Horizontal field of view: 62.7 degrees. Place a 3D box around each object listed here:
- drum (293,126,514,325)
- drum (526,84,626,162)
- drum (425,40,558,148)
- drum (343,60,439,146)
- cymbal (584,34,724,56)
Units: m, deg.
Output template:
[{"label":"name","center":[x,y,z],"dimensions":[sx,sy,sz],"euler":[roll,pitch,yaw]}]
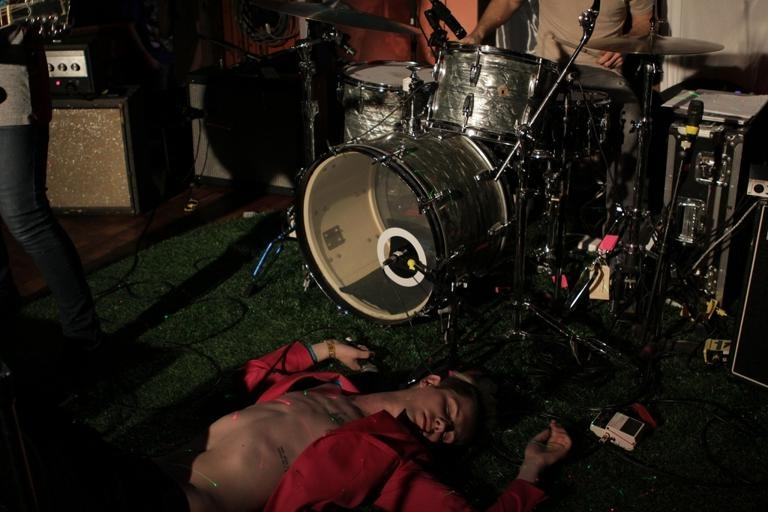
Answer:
[{"label":"drum","center":[0.112,-0.187,3.203],"dimensions":[0.890,0.831,0.727],"euler":[22,34,35]},{"label":"drum","center":[0.991,-0.672,3.206],"dimensions":[0.479,0.239,0.570],"euler":[11,28,21]},{"label":"drum","center":[0.554,-0.837,3.233],"dimensions":[0.713,0.417,0.677],"euler":[10,16,-3]},{"label":"drum","center":[-0.022,-0.747,3.506],"dimensions":[0.356,0.343,0.345],"euler":[13,5,-32]},{"label":"cymbal","center":[1.240,-0.987,2.958],"dimensions":[0.319,0.061,0.315],"euler":[13,33,26]}]
